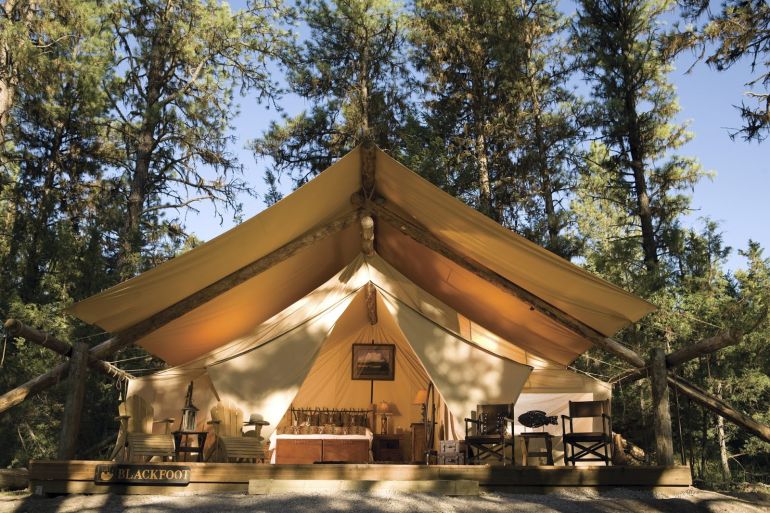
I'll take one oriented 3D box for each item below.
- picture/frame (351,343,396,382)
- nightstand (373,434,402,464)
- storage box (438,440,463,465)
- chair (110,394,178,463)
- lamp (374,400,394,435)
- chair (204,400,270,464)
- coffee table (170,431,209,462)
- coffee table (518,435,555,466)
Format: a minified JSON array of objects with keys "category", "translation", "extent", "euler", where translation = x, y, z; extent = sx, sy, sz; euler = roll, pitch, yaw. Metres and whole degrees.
[{"category":"picture/frame","translation":[-0.380,3.113,21.870],"extent":[0.958,0.926,0.084],"euler":[1,-11,-6]},{"category":"nightstand","translation":[0.045,5.262,20.344],"extent":[0.724,0.820,0.609],"euler":[1,-30,-2]},{"category":"storage box","translation":[1.564,4.758,18.203],"extent":[0.484,0.548,0.545],"euler":[4,-35,-1]},{"category":"chair","translation":[-5.366,3.888,16.936],"extent":[1.046,1.699,1.591],"euler":[12,-18,-30]},{"category":"lamp","translation":[-0.060,4.650,21.652],"extent":[0.682,1.122,0.751],"euler":[-4,-18,10]},{"category":"chair","translation":[-3.249,3.926,16.943],"extent":[1.126,1.447,1.580],"euler":[8,-28,-22]},{"category":"coffee table","translation":[-4.543,4.409,17.611],"extent":[0.802,0.827,0.896],"euler":[3,-44,-11]},{"category":"coffee table","translation":[3.707,4.685,18.406],"extent":[0.893,0.848,1.127],"euler":[-2,-37,9]}]
